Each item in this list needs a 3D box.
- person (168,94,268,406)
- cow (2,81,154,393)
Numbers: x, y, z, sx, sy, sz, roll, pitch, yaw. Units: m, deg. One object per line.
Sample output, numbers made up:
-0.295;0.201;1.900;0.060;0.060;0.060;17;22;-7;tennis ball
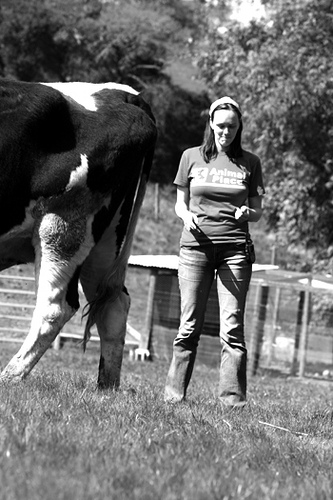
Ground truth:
0.338;-0.003;6.252;0.635;2.025;0.655;7;8;0;person
-0.652;-0.054;6.317;0.741;2.197;1.239;13;11;39;cow
